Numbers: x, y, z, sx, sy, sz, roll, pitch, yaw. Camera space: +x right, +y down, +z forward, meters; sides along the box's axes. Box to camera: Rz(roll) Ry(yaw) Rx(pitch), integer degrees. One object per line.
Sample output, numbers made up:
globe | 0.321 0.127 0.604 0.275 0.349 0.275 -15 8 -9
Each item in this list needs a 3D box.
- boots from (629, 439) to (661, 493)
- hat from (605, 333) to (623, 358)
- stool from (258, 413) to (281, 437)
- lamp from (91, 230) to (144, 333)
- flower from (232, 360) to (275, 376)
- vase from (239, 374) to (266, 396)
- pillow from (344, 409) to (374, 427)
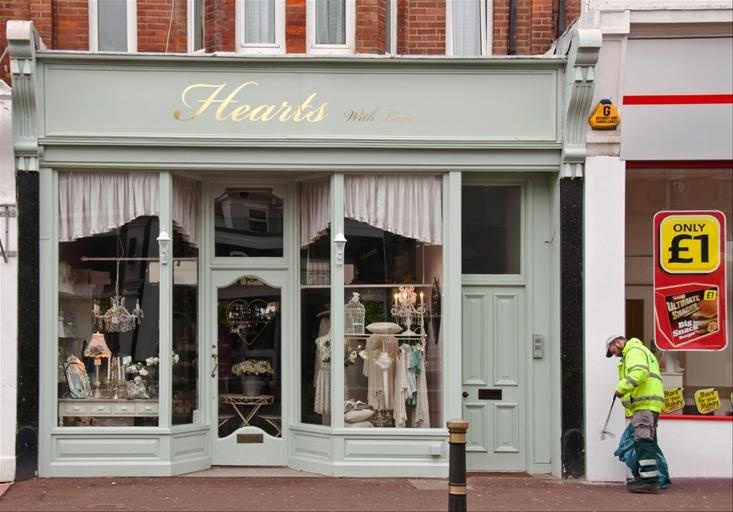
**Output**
boots | 4.019 3.035 19.139 0.438 0.770 0.309 -1 -5 10
hat | 3.586 1.326 19.380 0.304 0.307 0.266 -2 4 -43
stool | -1.445 2.580 20.221 0.379 0.370 0.230 2 -7 0
lamp | -3.762 0.585 19.985 0.722 1.145 0.187 -2 -5 13
flower | -1.746 1.719 20.460 0.369 0.169 0.343 0 -5 18
vase | -1.760 2.004 20.430 0.328 0.251 0.304 2 -3 -28
pillow | -0.112 2.447 19.964 0.302 0.133 0.297 1 13 8
